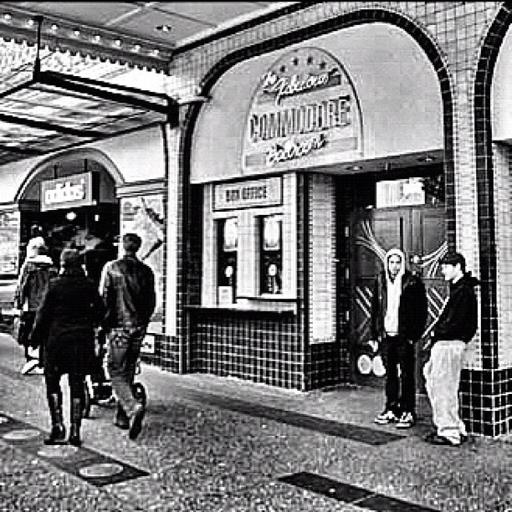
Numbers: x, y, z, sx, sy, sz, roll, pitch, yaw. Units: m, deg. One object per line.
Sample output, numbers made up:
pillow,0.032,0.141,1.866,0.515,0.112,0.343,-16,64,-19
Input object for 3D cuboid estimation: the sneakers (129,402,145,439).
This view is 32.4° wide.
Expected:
sneakers,-1.226,1.676,8.956,0.121,0.402,0.164,12,-14,-6

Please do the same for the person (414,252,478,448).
person,1.958,0.920,8.965,0.476,1.880,0.515,3,5,34

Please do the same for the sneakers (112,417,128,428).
sneakers,-1.451,1.771,9.395,0.107,0.091,0.051,11,21,6

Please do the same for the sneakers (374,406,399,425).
sneakers,1.421,1.761,9.689,0.120,0.139,0.281,-10,-19,42

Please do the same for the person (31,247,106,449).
person,-1.907,0.900,8.829,0.710,1.906,0.438,-1,4,-13

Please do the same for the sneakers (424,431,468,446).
sneakers,1.915,1.826,8.886,0.433,0.092,0.217,1,5,9

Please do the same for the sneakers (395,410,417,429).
sneakers,1.615,1.749,9.514,0.183,0.150,0.301,1,5,17
